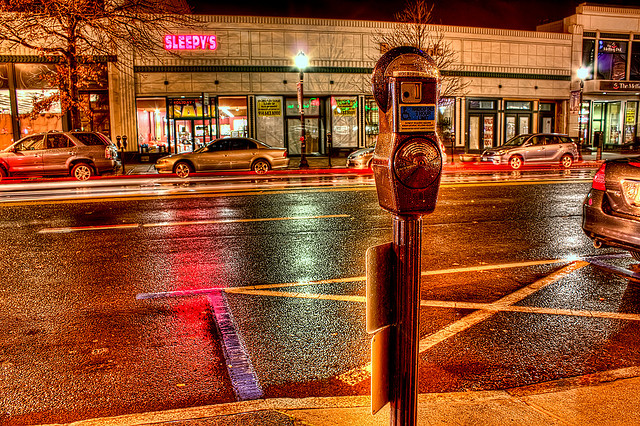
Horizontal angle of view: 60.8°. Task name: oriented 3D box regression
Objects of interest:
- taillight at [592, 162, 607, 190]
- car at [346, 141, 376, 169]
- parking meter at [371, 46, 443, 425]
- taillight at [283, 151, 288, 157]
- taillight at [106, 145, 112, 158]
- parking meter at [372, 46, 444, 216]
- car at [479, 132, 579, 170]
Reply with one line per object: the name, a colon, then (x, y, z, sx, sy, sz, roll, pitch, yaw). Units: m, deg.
taillight: (4.312, -0.558, 8.415, 0.111, 0.391, 0.241, 2, 5, 17)
car: (1.811, -2.410, 24.339, 1.171, 0.971, 1.811, -1, 12, 2)
parking meter: (0.695, 0.292, 4.403, 0.549, 3.203, 0.734, 0, 11, 9)
taillight: (-1.416, -2.450, 22.524, 0.177, 0.196, 0.177, 1, 14, -2)
taillight: (-7.958, -2.314, 20.612, 0.160, 0.412, 0.260, -1, 11, 2)
parking meter: (0.704, -0.668, 4.360, 0.566, 1.310, 0.460, 0, 11, 7)
car: (9.776, -2.813, 25.082, 3.954, 1.426, 1.924, 1, 5, -5)
